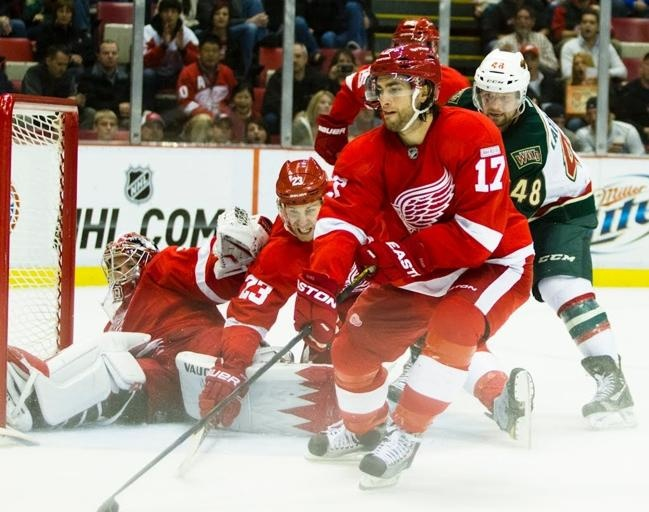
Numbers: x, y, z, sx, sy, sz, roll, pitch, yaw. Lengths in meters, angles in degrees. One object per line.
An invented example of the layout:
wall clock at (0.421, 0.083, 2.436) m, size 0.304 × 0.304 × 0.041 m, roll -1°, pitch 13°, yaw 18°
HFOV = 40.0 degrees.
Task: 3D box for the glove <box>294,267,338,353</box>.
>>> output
glove at (-0.012, 0.197, 3.213) m, size 0.185 × 0.251 × 0.108 m, roll 8°, pitch 13°, yaw 29°

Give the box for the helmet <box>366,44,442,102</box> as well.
helmet at (0.297, -0.689, 3.274) m, size 0.241 × 0.183 × 0.182 m, roll 4°, pitch -11°, yaw -25°

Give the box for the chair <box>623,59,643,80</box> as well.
chair at (2.557, -1.543, 7.362) m, size 0.156 × 0.192 × 0.161 m, roll 3°, pitch 16°, yaw 9°

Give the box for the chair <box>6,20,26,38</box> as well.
chair at (-2.510, -1.854, 7.297) m, size 0.171 × 0.161 × 0.157 m, roll 3°, pitch 11°, yaw -2°

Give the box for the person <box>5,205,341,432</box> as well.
person at (-0.749, 0.172, 3.736) m, size 1.138 × 0.567 × 0.892 m, roll -4°, pitch 4°, yaw -39°

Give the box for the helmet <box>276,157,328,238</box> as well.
helmet at (-0.074, -0.264, 3.834) m, size 0.247 × 0.333 × 0.320 m, roll 5°, pitch 28°, yaw -1°

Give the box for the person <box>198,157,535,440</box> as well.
person at (0.281, 0.213, 4.060) m, size 0.931 × 1.736 × 0.431 m, roll -18°, pitch 40°, yaw 30°

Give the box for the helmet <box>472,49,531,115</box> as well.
helmet at (0.813, -0.789, 4.092) m, size 0.248 × 0.285 × 0.314 m, roll 14°, pitch 29°, yaw 24°

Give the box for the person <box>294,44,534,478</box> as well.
person at (0.342, 0.011, 3.299) m, size 0.826 × 1.571 × 0.595 m, roll 4°, pitch 7°, yaw 9°

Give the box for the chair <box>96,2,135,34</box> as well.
chair at (-1.577, -1.840, 6.753) m, size 0.307 × 0.298 × 0.236 m, roll 3°, pitch 21°, yaw 2°

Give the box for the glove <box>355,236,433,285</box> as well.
glove at (0.258, 0.021, 3.270) m, size 0.271 × 0.187 × 0.163 m, roll 4°, pitch 7°, yaw 6°

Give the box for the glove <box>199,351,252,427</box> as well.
glove at (-0.411, 0.541, 3.525) m, size 0.204 × 0.242 × 0.103 m, roll 30°, pitch -17°, yaw -14°

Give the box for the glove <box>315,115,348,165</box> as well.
glove at (0.049, -0.704, 5.113) m, size 0.209 × 0.288 × 0.171 m, roll -7°, pitch 37°, yaw -11°
